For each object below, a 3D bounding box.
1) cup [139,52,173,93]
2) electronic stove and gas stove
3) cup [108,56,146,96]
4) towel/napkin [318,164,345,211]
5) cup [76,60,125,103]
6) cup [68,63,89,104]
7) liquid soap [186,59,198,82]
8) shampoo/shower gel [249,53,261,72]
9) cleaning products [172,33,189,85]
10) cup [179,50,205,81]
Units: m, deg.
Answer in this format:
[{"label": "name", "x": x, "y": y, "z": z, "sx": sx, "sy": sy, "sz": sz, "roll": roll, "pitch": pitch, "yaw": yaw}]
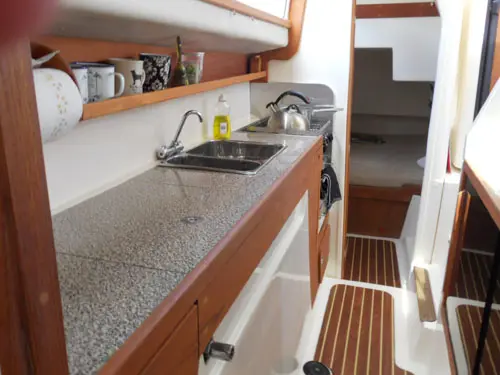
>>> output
[{"label": "cup", "x": -0.436, "y": -0.538, "z": 1.549, "sx": 0.117, "sy": 0.183, "sz": 0.187, "roll": -11, "pitch": 49, "yaw": -32}, {"label": "electronic stove and gas stove", "x": 0.288, "y": -0.453, "z": 2.649, "sx": 0.586, "sy": 0.119, "sz": 0.603, "roll": 6, "pitch": 17, "yaw": 19}, {"label": "cup", "x": -0.467, "y": -0.432, "z": 1.369, "sx": 0.103, "sy": 0.147, "sz": 0.163, "roll": -8, "pitch": 32, "yaw": -24}, {"label": "towel/napkin", "x": 0.604, "y": 0.004, "z": 2.667, "sx": 0.073, "sy": 0.335, "sz": 0.238, "roll": -8, "pitch": -9, "yaw": 17}, {"label": "cup", "x": -0.514, "y": -0.362, "z": 1.249, "sx": 0.135, "sy": 0.128, "sz": 0.095, "roll": 16, "pitch": 27, "yaw": 15}, {"label": "cup", "x": -0.555, "y": -0.343, "z": 1.151, "sx": 0.051, "sy": 0.127, "sz": 0.120, "roll": -7, "pitch": 17, "yaw": -25}, {"label": "liquid soap", "x": -0.295, "y": -0.596, "z": 1.798, "sx": 0.038, "sy": 0.096, "sz": 0.069, "roll": 0, "pitch": 0, "yaw": 5}, {"label": "shampoo/shower gel", "x": 0.045, "y": -1.018, "z": 2.902, "sx": 0.110, "sy": 0.130, "sz": 0.030, "roll": 13, "pitch": 20, "yaw": 38}, {"label": "cleaning products", "x": -0.334, "y": -0.595, "z": 1.697, "sx": 0.075, "sy": 0.251, "sz": 0.078, "roll": -7, "pitch": 24, "yaw": -21}, {"label": "cup", "x": -0.276, "y": -0.636, "z": 1.851, "sx": 0.134, "sy": 0.177, "sz": 0.147, "roll": 5, "pitch": 26, "yaw": 10}]
